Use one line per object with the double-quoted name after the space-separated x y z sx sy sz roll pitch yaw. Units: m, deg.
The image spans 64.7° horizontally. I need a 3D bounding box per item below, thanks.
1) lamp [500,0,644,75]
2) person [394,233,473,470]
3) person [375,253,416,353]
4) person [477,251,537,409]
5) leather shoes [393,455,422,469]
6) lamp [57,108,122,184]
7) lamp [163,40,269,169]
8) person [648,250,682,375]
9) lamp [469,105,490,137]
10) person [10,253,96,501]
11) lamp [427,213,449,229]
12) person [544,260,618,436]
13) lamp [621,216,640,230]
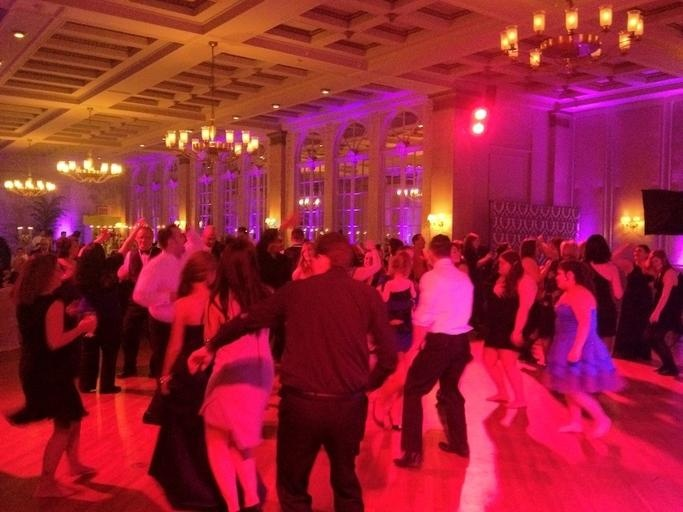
3.492 -3.400 8.262 1.153 0.809 1.223 0 -5 0 "lamp"
0.830 0.828 4.707 0.719 2.021 0.321 -2 5 -27 "person"
0.586 0.504 5.683 0.356 1.128 0.348 -3 24 -2 "person"
1.881 0.842 6.074 0.523 1.785 1.042 2 5 17 "person"
0.579 1.793 4.764 0.267 0.132 0.100 3 -6 8 "leather shoes"
-10.482 -4.159 22.394 1.833 2.238 1.893 -10 -11 34 "lamp"
-2.811 -3.345 11.699 1.726 2.647 1.905 -1 0 -16 "lamp"
4.537 0.755 7.589 0.421 1.665 0.719 3 6 31 "person"
2.787 -2.762 10.942 0.309 0.565 0.474 1 5 15 "lamp"
-2.271 0.941 4.193 0.579 1.892 0.340 -2 5 -25 "person"
2.224 -0.827 12.649 0.157 0.369 0.617 -4 7 -38 "lamp"
2.345 0.910 5.250 0.643 1.759 0.726 3 5 26 "person"
7.169 -0.845 13.391 0.094 0.344 0.550 -2 6 -24 "lamp"
